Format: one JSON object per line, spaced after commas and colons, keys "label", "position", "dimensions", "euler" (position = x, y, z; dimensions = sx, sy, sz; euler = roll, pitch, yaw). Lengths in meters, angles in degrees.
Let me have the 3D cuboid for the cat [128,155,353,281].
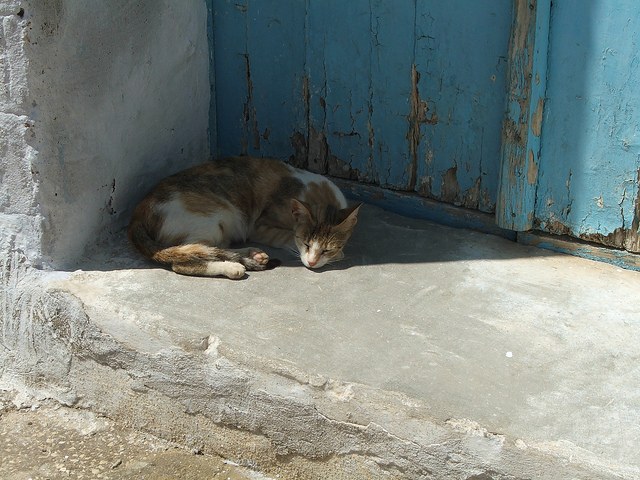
{"label": "cat", "position": [-0.516, -0.132, 4.082], "dimensions": [1.356, 0.734, 0.924], "euler": [7, 9, -15]}
